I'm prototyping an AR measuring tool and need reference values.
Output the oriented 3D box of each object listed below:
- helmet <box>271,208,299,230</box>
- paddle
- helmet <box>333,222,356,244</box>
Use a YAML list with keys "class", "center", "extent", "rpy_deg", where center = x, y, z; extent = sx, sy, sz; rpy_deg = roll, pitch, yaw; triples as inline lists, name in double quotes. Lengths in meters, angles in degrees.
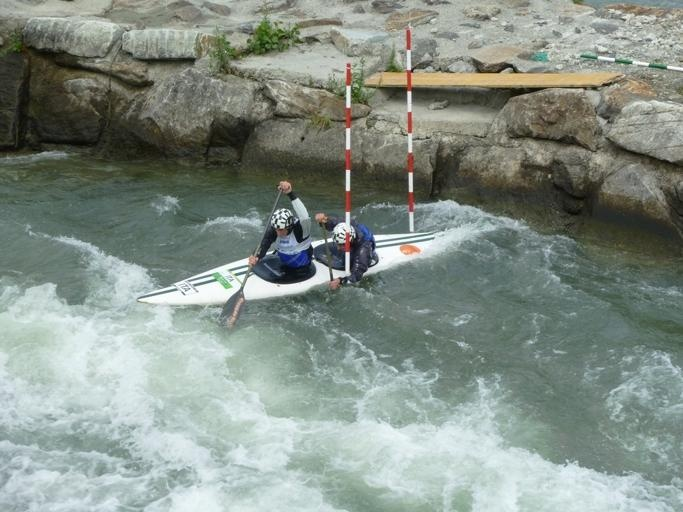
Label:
- class: "helmet"
  center: [-0.889, -0.531, 11.235]
  extent: [0.287, 0.271, 0.386]
  rpy_deg: [6, -2, 37]
- class: "paddle"
  center: [-1.240, -0.191, 11.865]
  extent: [0.431, 3.427, 0.279]
  rpy_deg: [38, -44, -18]
- class: "helmet"
  center: [0.051, -0.351, 11.695]
  extent: [0.300, 0.306, 0.378]
  rpy_deg: [23, 32, 35]
